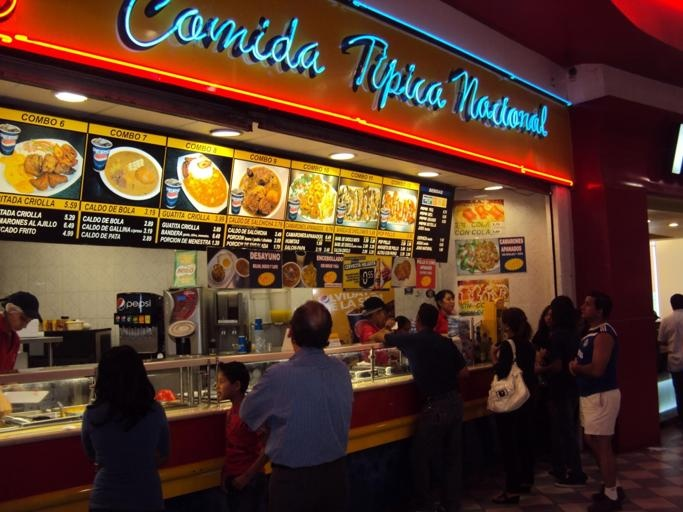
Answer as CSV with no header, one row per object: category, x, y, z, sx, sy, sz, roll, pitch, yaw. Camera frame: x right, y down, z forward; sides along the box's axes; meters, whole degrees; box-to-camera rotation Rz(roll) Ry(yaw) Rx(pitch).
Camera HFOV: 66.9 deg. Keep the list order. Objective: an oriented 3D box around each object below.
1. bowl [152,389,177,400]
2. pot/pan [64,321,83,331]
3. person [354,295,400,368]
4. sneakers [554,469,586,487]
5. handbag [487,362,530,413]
bowl,-1.278,1.020,3.743,0.113,0.047,0.101,6,0,34
pot/pan,-3.320,0.866,6.428,0.135,0.095,0.134,1,0,-30
person,0.361,0.751,5.293,0.430,0.520,1.216,0,-42,4
sneakers,2.249,2.227,5.208,0.359,0.165,0.143,2,-5,13
handbag,1.553,1.228,4.759,0.195,0.408,0.393,1,-31,-45
